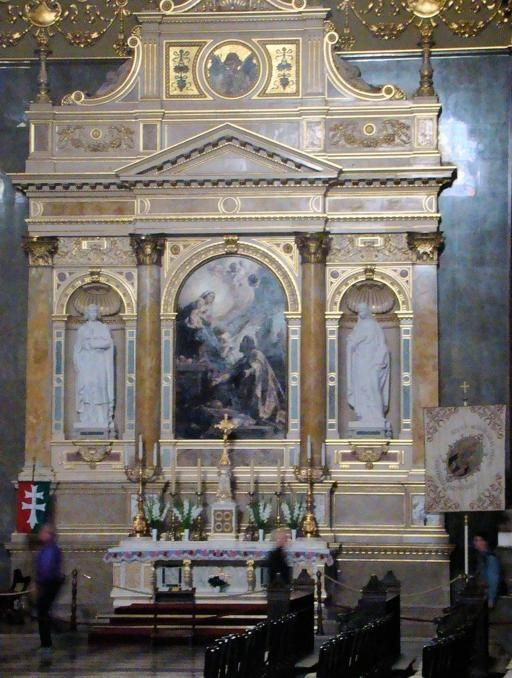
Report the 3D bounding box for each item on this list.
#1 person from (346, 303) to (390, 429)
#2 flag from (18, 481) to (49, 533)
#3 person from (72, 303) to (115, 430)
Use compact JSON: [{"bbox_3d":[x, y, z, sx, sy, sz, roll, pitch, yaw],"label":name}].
[{"bbox_3d":[1.709,0.447,29.151,0.642,2.010,0.227,-2,-5,2],"label":"person"},{"bbox_3d":[-3.383,2.540,28.813,0.520,0.801,0.263,-1,-6,-8],"label":"flag"},{"bbox_3d":[-2.529,0.457,29.406,0.643,2.008,0.273,-2,-5,-5],"label":"person"}]
